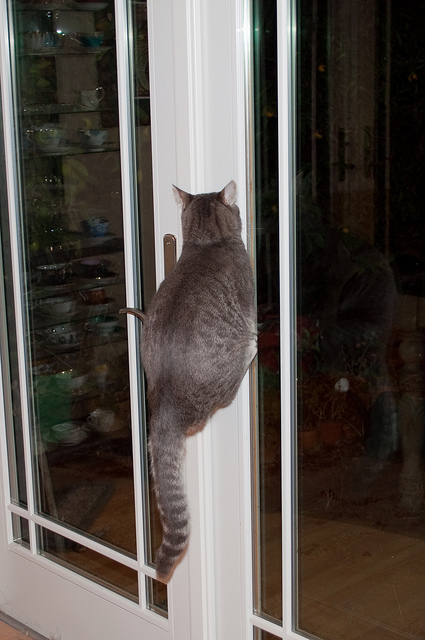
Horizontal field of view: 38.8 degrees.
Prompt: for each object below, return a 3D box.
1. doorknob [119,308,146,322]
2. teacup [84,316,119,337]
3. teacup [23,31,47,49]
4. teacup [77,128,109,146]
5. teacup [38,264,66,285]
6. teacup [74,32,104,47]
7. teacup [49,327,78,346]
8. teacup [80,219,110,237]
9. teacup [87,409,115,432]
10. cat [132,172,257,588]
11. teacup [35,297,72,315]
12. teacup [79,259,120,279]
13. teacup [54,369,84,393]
[{"bbox_3d":[-0.159,-0.013,1.299,0.047,0.022,0.085,-14,16,-34],"label":"doorknob"},{"bbox_3d":[-0.280,0.011,1.508,0.060,0.032,0.061,3,6,11],"label":"teacup"},{"bbox_3d":[-0.443,-0.696,1.499,0.057,0.046,0.063,-1,17,-3],"label":"teacup"},{"bbox_3d":[-0.280,-0.428,1.412,0.055,0.028,0.055,3,11,5],"label":"teacup"},{"bbox_3d":[-0.424,-0.120,1.603,0.020,0.052,0.118,-16,17,-39],"label":"teacup"},{"bbox_3d":[-0.276,-0.628,1.354,0.063,0.021,0.043,-3,8,-20],"label":"teacup"},{"bbox_3d":[-0.402,0.039,1.619,0.058,0.028,0.059,2,3,12],"label":"teacup"},{"bbox_3d":[-0.280,-0.218,1.466,0.051,0.034,0.051,6,8,34],"label":"teacup"},{"bbox_3d":[-0.291,0.260,1.571,0.069,0.048,0.046,0,10,-16],"label":"teacup"},{"bbox_3d":[-0.021,0.054,1.196,0.234,0.774,0.326,10,6,15],"label":"cat"},{"bbox_3d":[-0.422,-0.032,1.619,0.077,0.033,0.052,-2,0,31],"label":"teacup"},{"bbox_3d":[-0.279,-0.128,1.478,0.076,0.030,0.054,2,5,9],"label":"teacup"},{"bbox_3d":[-0.387,0.162,1.636,0.072,0.044,0.071,-3,4,-25],"label":"teacup"}]
